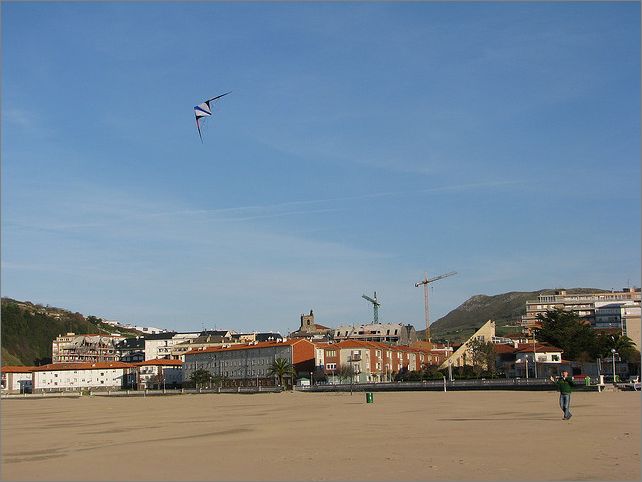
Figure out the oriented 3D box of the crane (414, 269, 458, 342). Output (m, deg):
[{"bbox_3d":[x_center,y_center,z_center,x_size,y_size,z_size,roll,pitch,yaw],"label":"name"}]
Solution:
[{"bbox_3d":[14.997,8.850,136.756,6.272,9.543,7.253,-6,-4,26],"label":"crane"}]
